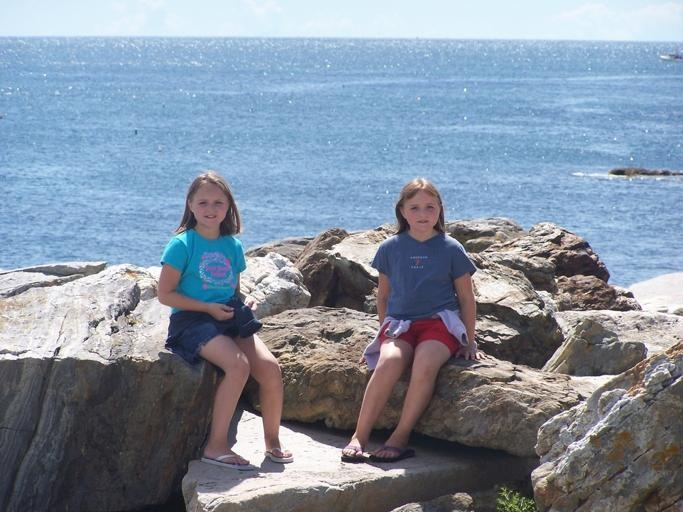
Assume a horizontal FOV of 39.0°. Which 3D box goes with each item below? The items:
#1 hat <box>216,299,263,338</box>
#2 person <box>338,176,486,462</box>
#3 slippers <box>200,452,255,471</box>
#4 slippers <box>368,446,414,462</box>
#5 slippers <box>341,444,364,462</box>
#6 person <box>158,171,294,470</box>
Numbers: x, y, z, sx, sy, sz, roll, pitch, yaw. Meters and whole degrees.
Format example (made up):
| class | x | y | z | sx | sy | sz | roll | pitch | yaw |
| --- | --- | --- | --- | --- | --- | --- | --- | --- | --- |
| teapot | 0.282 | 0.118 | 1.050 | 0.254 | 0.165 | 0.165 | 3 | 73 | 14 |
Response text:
| class | x | y | z | sx | sy | sz | roll | pitch | yaw |
| --- | --- | --- | --- | --- | --- | --- | --- | --- | --- |
| hat | -1.020 | 0.651 | 9.786 | 0.291 | 0.431 | 0.347 | -23 | -24 | -5 |
| person | 0.818 | 0.598 | 9.809 | 1.165 | 2.656 | 1.366 | 6 | 11 | 9 |
| slippers | -1.077 | 1.935 | 9.270 | 0.433 | 0.119 | 0.176 | 6 | 10 | 15 |
| slippers | 0.536 | 1.942 | 9.441 | 0.362 | 0.097 | 0.165 | -2 | 16 | -16 |
| slippers | 0.142 | 1.930 | 9.413 | 0.272 | 0.151 | 0.170 | 1 | 12 | -20 |
| person | -1.178 | 0.562 | 9.652 | 1.464 | 2.687 | 0.959 | 15 | 16 | 43 |
